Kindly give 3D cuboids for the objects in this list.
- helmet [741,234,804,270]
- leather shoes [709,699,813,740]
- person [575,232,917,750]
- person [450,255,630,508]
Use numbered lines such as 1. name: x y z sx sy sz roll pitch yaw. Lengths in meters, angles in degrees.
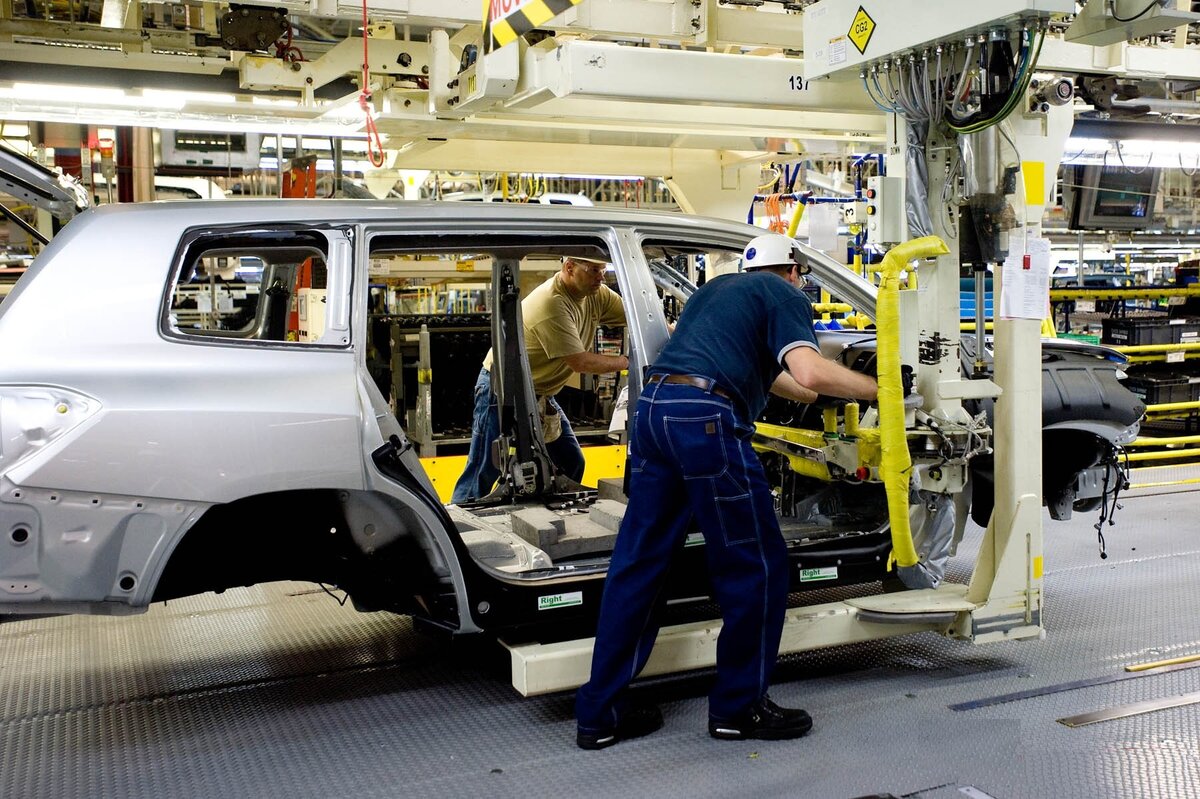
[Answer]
1. helmet: 0.843 -0.678 4.316 0.204 0.104 0.269 5 9 39
2. leather shoes: 0.716 1.441 4.095 0.477 0.198 0.180 -4 7 -4
3. person: 0.475 0.478 4.056 1.169 2.059 0.528 -1 9 0
4. person: -0.448 -0.055 6.504 1.425 2.133 0.849 5 19 1
